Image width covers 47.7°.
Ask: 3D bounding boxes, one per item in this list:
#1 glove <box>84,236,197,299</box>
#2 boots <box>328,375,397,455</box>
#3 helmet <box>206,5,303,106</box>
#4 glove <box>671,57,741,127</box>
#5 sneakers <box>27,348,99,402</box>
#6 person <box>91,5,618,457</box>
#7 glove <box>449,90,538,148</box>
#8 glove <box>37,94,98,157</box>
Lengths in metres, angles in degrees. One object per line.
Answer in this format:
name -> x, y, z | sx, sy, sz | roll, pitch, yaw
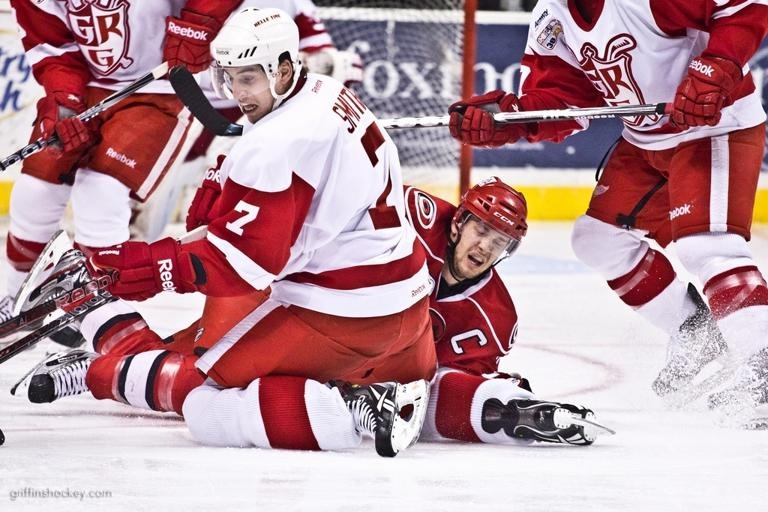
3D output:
glove -> -0.683, 0.038, 2.441 | 0.326, 0.179, 0.075 | 3, 7, 11
boots -> -0.061, 0.459, 2.542 | 0.126, 0.182, 0.296 | -5, 9, -40
helmet -> -0.375, -0.570, 2.486 | 0.320, 0.293, 0.238 | -13, 15, -21
glove -> 1.067, -0.499, 2.859 | 0.192, 0.232, 0.113 | 34, 0, 39
sneakers -> -1.051, 0.387, 2.813 | 0.213, 0.142, 0.106 | -1, 8, -22
person -> -0.252, 0.027, 2.999 | 1.862, 1.227, 1.012 | 2, -6, 5
glove -> 0.419, -0.524, 3.348 | 0.283, 0.118, 0.196 | -3, 37, -16
glove -> -1.256, -0.503, 3.309 | 0.285, 0.234, 0.221 | 2, 7, 4
